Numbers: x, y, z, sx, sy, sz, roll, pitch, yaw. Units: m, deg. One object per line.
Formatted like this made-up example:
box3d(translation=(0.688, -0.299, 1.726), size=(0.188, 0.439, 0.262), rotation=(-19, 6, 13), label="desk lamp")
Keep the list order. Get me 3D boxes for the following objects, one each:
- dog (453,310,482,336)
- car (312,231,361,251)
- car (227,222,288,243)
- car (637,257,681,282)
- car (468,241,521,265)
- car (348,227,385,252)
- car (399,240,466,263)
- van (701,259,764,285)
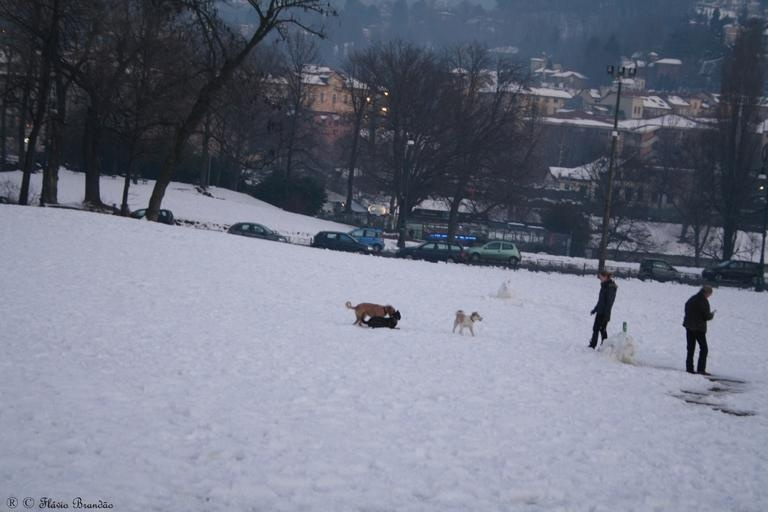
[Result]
box3d(translation=(4.348, 3.365, 49.471), size=(1.290, 1.170, 1.989), rotation=(8, 11, 7), label="dog")
box3d(translation=(-3.592, -1.028, 71.195), size=(2.917, 1.508, 1.737), rotation=(0, 3, 1), label="car")
box3d(translation=(-9.598, -1.426, 70.952), size=(3.635, 1.417, 2.029), rotation=(1, 6, -6), label="car")
box3d(translation=(21.690, 1.157, 73.990), size=(3.014, 1.794, 1.904), rotation=(-1, 3, 1), label="car")
box3d(translation=(8.850, -0.170, 74.336), size=(3.295, 1.569, 2.052), rotation=(6, -1, 0), label="car")
box3d(translation=(-1.265, -1.448, 75.566), size=(2.517, 1.373, 1.695), rotation=(14, 8, 2), label="car")
box3d(translation=(3.794, -0.229, 72.177), size=(4.357, 1.590, 2.029), rotation=(5, -1, -1), label="car")
box3d(translation=(28.271, 1.003, 75.880), size=(4.200, 2.012, 2.328), rotation=(4, 0, 7), label="van")
